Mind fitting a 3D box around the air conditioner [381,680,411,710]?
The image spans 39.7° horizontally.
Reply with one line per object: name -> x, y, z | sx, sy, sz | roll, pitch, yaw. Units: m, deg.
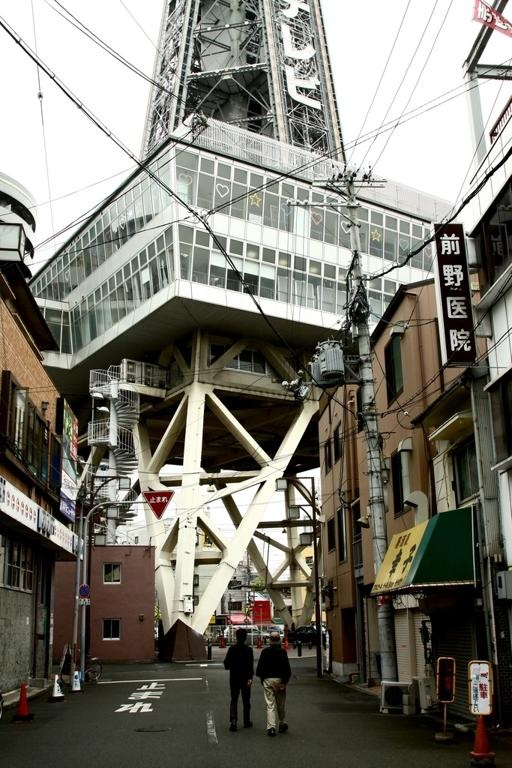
air conditioner -> 2.783, 6.257, 14.180 | 0.681, 0.584, 0.554 | -11, -22, 26

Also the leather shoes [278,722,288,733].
leather shoes -> 0.387, 5.030, 10.295 | 0.146, 0.165, 0.163 | 0, -6, -3

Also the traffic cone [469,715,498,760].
traffic cone -> 2.148, 3.427, 6.822 | 0.202, 0.388, 0.486 | -6, -20, 15

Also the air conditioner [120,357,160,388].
air conditioner -> -7.545, -1.228, 44.431 | 2.792, 2.002, 1.529 | 11, -25, -31
